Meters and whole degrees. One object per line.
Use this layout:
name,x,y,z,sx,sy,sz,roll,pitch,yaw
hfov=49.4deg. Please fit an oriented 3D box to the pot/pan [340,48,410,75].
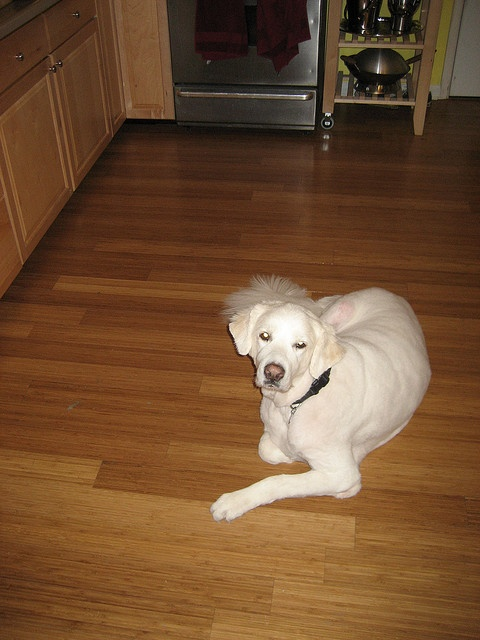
pot/pan,0.923,-1.708,3.459,0.361,0.116,0.214,4,38,8
